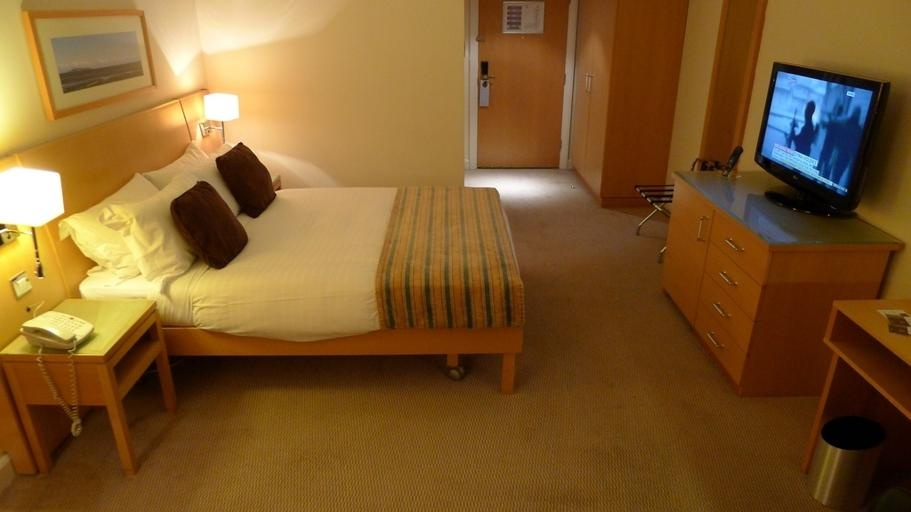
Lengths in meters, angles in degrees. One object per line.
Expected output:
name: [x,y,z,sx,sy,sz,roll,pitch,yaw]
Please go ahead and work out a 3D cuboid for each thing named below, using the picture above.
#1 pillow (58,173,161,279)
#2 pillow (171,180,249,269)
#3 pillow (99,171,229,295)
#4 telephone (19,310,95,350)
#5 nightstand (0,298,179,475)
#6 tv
pillow: [-2.646,-0.169,4.587,0.183,0.671,0.718,-18,24,38]
pillow: [-1.889,-0.237,4.675,0.236,0.603,0.622,-25,18,26]
pillow: [-2.253,-0.188,4.601,0.251,0.788,0.825,-23,17,34]
telephone: [-2.694,0.498,4.132,0.382,0.122,0.270,9,24,9]
nightstand: [-2.559,0.906,4.340,0.893,0.962,0.815,-2,29,2]
tv: [2.780,-0.858,4.571,0.557,0.891,1.015,-6,32,-10]
